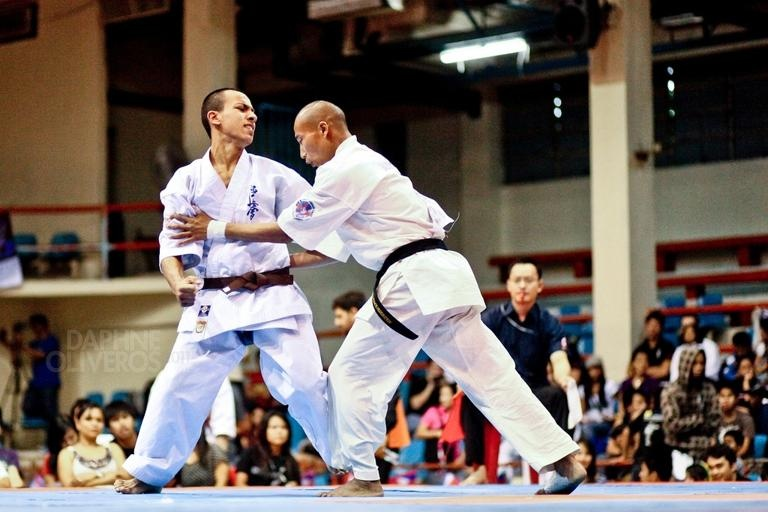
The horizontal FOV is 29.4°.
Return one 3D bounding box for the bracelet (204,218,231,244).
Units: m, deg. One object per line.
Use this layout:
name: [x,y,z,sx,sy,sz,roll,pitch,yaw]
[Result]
bracelet: [-1.235,-0.198,10.795,0.174,0.150,0.122,-1,17,7]
